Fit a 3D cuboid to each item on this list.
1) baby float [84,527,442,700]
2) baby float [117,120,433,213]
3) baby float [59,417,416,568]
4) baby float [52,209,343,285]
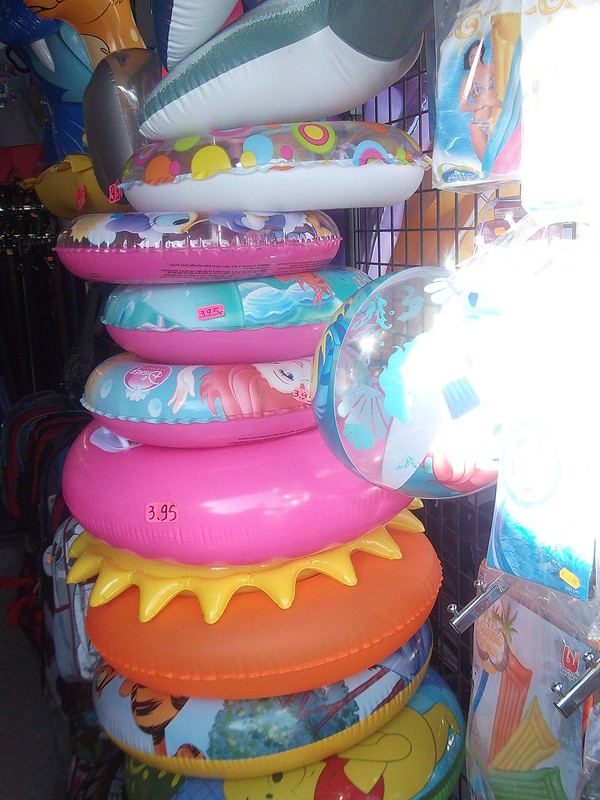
[{"bbox_3d":[-0.026,0.431,1.192,0.605,0.177,0.646,-12,0,8],"label":"baby float"},{"bbox_3d":[-0.041,-0.461,1.151,0.574,0.165,0.619,1,20,12],"label":"baby float"},{"bbox_3d":[-0.129,0.160,0.943,0.312,0.095,0.328,-4,10,3],"label":"baby float"},{"bbox_3d":[-0.193,-0.289,1.057,0.534,0.131,0.232,-1,17,5],"label":"baby float"}]
